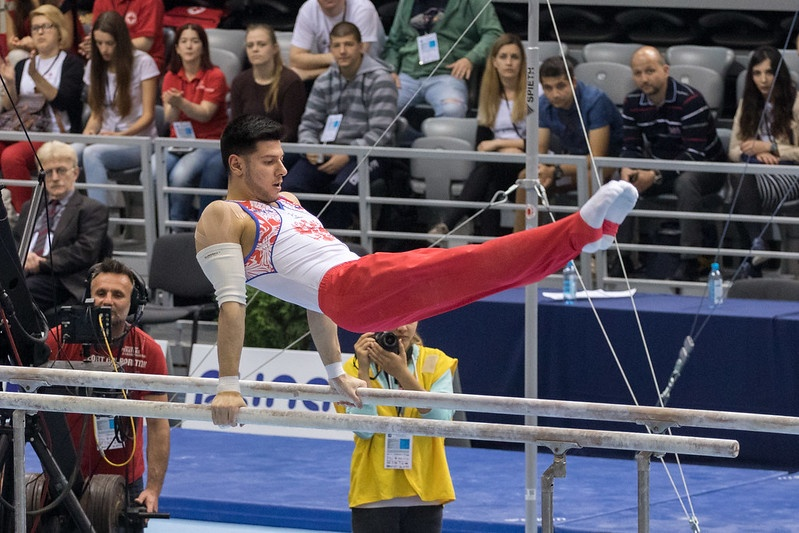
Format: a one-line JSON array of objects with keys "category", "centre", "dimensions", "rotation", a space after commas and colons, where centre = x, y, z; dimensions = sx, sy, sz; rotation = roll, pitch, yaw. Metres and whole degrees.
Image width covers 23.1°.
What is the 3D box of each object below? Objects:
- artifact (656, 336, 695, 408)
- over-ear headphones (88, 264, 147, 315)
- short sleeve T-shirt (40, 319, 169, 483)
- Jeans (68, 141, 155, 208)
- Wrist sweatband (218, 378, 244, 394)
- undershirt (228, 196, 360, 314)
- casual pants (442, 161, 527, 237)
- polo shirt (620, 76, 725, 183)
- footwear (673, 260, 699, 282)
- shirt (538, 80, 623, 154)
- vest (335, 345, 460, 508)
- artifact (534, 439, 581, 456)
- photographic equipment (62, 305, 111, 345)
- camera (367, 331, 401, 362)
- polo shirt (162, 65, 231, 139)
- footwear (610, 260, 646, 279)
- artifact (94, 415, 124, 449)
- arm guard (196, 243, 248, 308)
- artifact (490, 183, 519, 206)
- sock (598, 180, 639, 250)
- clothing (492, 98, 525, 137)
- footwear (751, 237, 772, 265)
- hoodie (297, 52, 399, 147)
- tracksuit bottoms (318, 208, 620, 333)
[{"category": "artifact", "centre": [2.291, 0.779, 16.022], "dimensions": [0.283, 0.205, 1.412], "rotation": [17, 20, 8]}, {"category": "over-ear headphones", "centre": [-2.153, 0.177, 14.731], "dimensions": [0.407, 0.337, 0.148], "rotation": [6, 0, 9]}, {"category": "short sleeve T-shirt", "centre": [-2.187, 1.001, 14.310], "dimensions": [1.375, 1.481, 0.559], "rotation": [0, -3, 2]}, {"category": "Jeans", "centre": [-2.575, -0.828, 18.067], "dimensions": [0.728, 0.540, 0.885], "rotation": [0, 3, -4]}, {"category": "Wrist sweatband", "centre": [-1.192, 0.825, 13.525], "dimensions": [0.122, 0.070, 0.115], "rotation": [-1, -1, 11]}, {"category": "undershirt", "centre": [-0.771, 0.060, 13.981], "dimensions": [0.831, 1.006, 0.587], "rotation": [2, -19, -24]}, {"category": "casual pants", "centre": [0.758, -0.629, 17.018], "dimensions": [0.604, 0.676, 0.255], "rotation": [17, 8, 10]}, {"category": "polo shirt", "centre": [2.392, -1.253, 17.276], "dimensions": [1.096, 0.752, 0.862], "rotation": [-12, 17, -22]}, {"category": "footwear", "centre": [2.454, 0.032, 16.615], "dimensions": [0.199, 0.168, 0.047], "rotation": [5, 8, 20]}, {"category": "shirt", "centre": [1.546, -1.316, 17.543], "dimensions": [0.728, 0.819, 0.604], "rotation": [-3, 34, 4]}, {"category": "vest", "centre": [-0.023, 1.150, 14.376], "dimensions": [0.969, 1.185, 0.689], "rotation": [-2, 6, 10]}, {"category": "artifact", "centre": [1.141, 1.303, 14.140], "dimensions": [0.419, 0.134, 0.071], "rotation": [0, 1, 21]}, {"category": "photographic equipment", "centre": [-2.289, 0.406, 14.383], "dimensions": [0.389, 0.288, 0.235], "rotation": [1, 7, 11]}, {"category": "camera", "centre": [-0.114, 0.585, 14.301], "dimensions": [0.198, 0.165, 0.539], "rotation": [-8, -5, -5]}, {"category": "polo shirt", "centre": [-1.922, -1.516, 18.255], "dimensions": [0.685, 0.754, 0.453], "rotation": [3, 14, 29]}, {"category": "footwear", "centre": [1.966, 0.036, 16.692], "dimensions": [0.189, 0.164, 0.047], "rotation": [2, 8, 4]}, {"category": "artifact", "centre": [-2.180, 1.225, 14.477], "dimensions": [0.262, 0.224, 0.059], "rotation": [-4, 0, -33]}, {"category": "arm guard", "centre": [-1.248, 0.051, 13.628], "dimensions": [0.332, 0.427, 0.196], "rotation": [0, 6, -8]}, {"category": "artifact", "centre": [0.845, -0.577, 15.434], "dimensions": [0.034, 0.115, 0.601], "rotation": [-17, 8, 30]}, {"category": "sock", "centre": [1.419, -0.366, 13.292], "dimensions": [0.273, 0.436, 0.148], "rotation": [19, 18, -37]}, {"category": "clothing", "centre": [0.983, -1.343, 17.440], "dimensions": [0.363, 0.380, 0.223], "rotation": [0, 6, 12]}, {"category": "footwear", "centre": [3.035, -0.128, 16.450], "dimensions": [0.225, 0.224, 0.189], "rotation": [2, -5, -45]}, {"category": "hoodie", "centre": [-0.426, -1.475, 17.895], "dimensions": [0.997, 0.930, 0.915], "rotation": [8, 10, 24]}, {"category": "tracksuit bottoms", "centre": [0.450, 0.033, 13.543], "dimensions": [2.425, 0.605, 0.487], "rotation": [-14, 0, 33]}]
